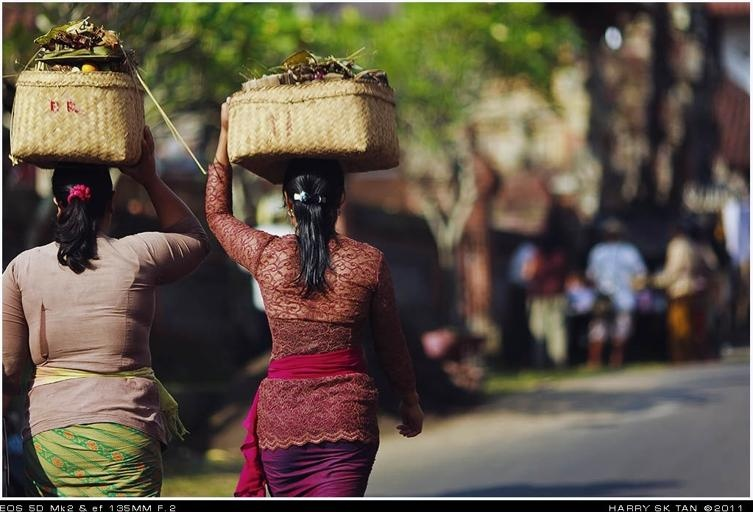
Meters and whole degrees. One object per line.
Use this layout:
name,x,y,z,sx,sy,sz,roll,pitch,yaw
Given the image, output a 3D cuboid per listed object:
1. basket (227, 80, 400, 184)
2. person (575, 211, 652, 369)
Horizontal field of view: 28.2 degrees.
basket,-0.596,-1.270,14.841,1.082,0.529,1.082,-3,-6,14
person,3.191,0.514,20.366,0.699,1.935,0.847,4,6,26
